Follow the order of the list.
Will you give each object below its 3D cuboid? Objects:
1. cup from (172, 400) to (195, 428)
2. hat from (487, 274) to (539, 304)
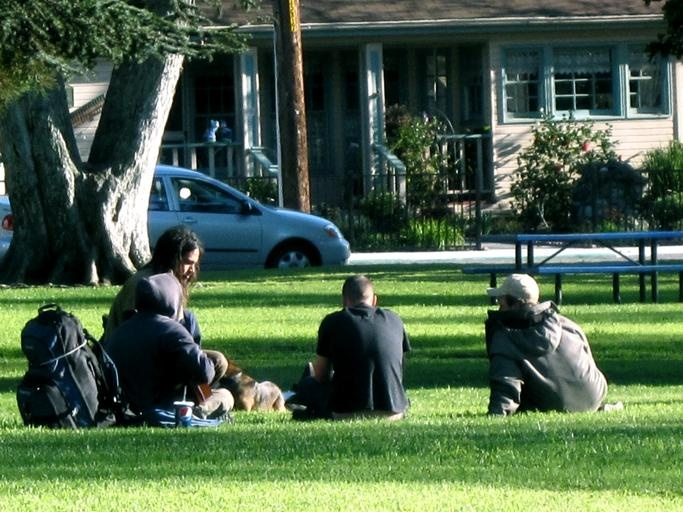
[{"bbox_3d":[-2.000,2.007,25.128,0.268,0.308,0.263,0,-5,0],"label":"cup"},{"bbox_3d":[2.212,0.423,25.099,0.486,0.313,0.362,16,4,14],"label":"hat"}]
